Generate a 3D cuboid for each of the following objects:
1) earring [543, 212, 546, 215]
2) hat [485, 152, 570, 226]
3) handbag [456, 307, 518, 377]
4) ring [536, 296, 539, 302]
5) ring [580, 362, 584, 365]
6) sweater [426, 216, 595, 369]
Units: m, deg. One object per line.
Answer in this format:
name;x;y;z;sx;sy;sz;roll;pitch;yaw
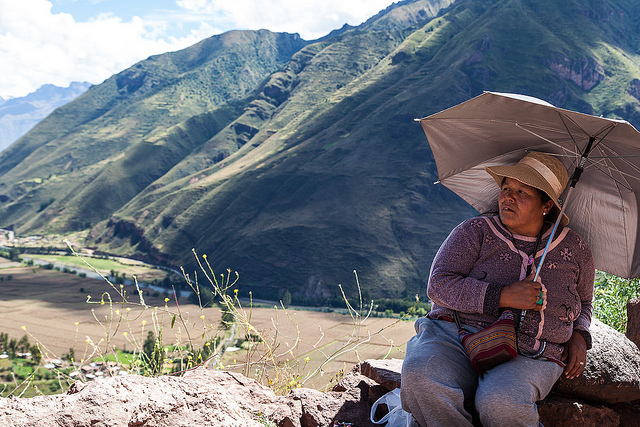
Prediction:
earring;2.588;-0.003;7.522;0.041;0.039;0.010;19;2;10
hat;2.556;-0.335;7.609;0.970;0.488;0.720;32;-13;-11
handbag;1.967;1.398;7.353;0.250;0.697;0.777;56;1;-30
ring;2.408;0.949;7.223;0.013;0.066;0.018;19;19;4
ring;2.972;1.705;7.393;0.045;0.024;0.009;-9;-3;-15
sweater;2.380;0.813;7.853;2.228;1.575;1.251;12;4;-14
